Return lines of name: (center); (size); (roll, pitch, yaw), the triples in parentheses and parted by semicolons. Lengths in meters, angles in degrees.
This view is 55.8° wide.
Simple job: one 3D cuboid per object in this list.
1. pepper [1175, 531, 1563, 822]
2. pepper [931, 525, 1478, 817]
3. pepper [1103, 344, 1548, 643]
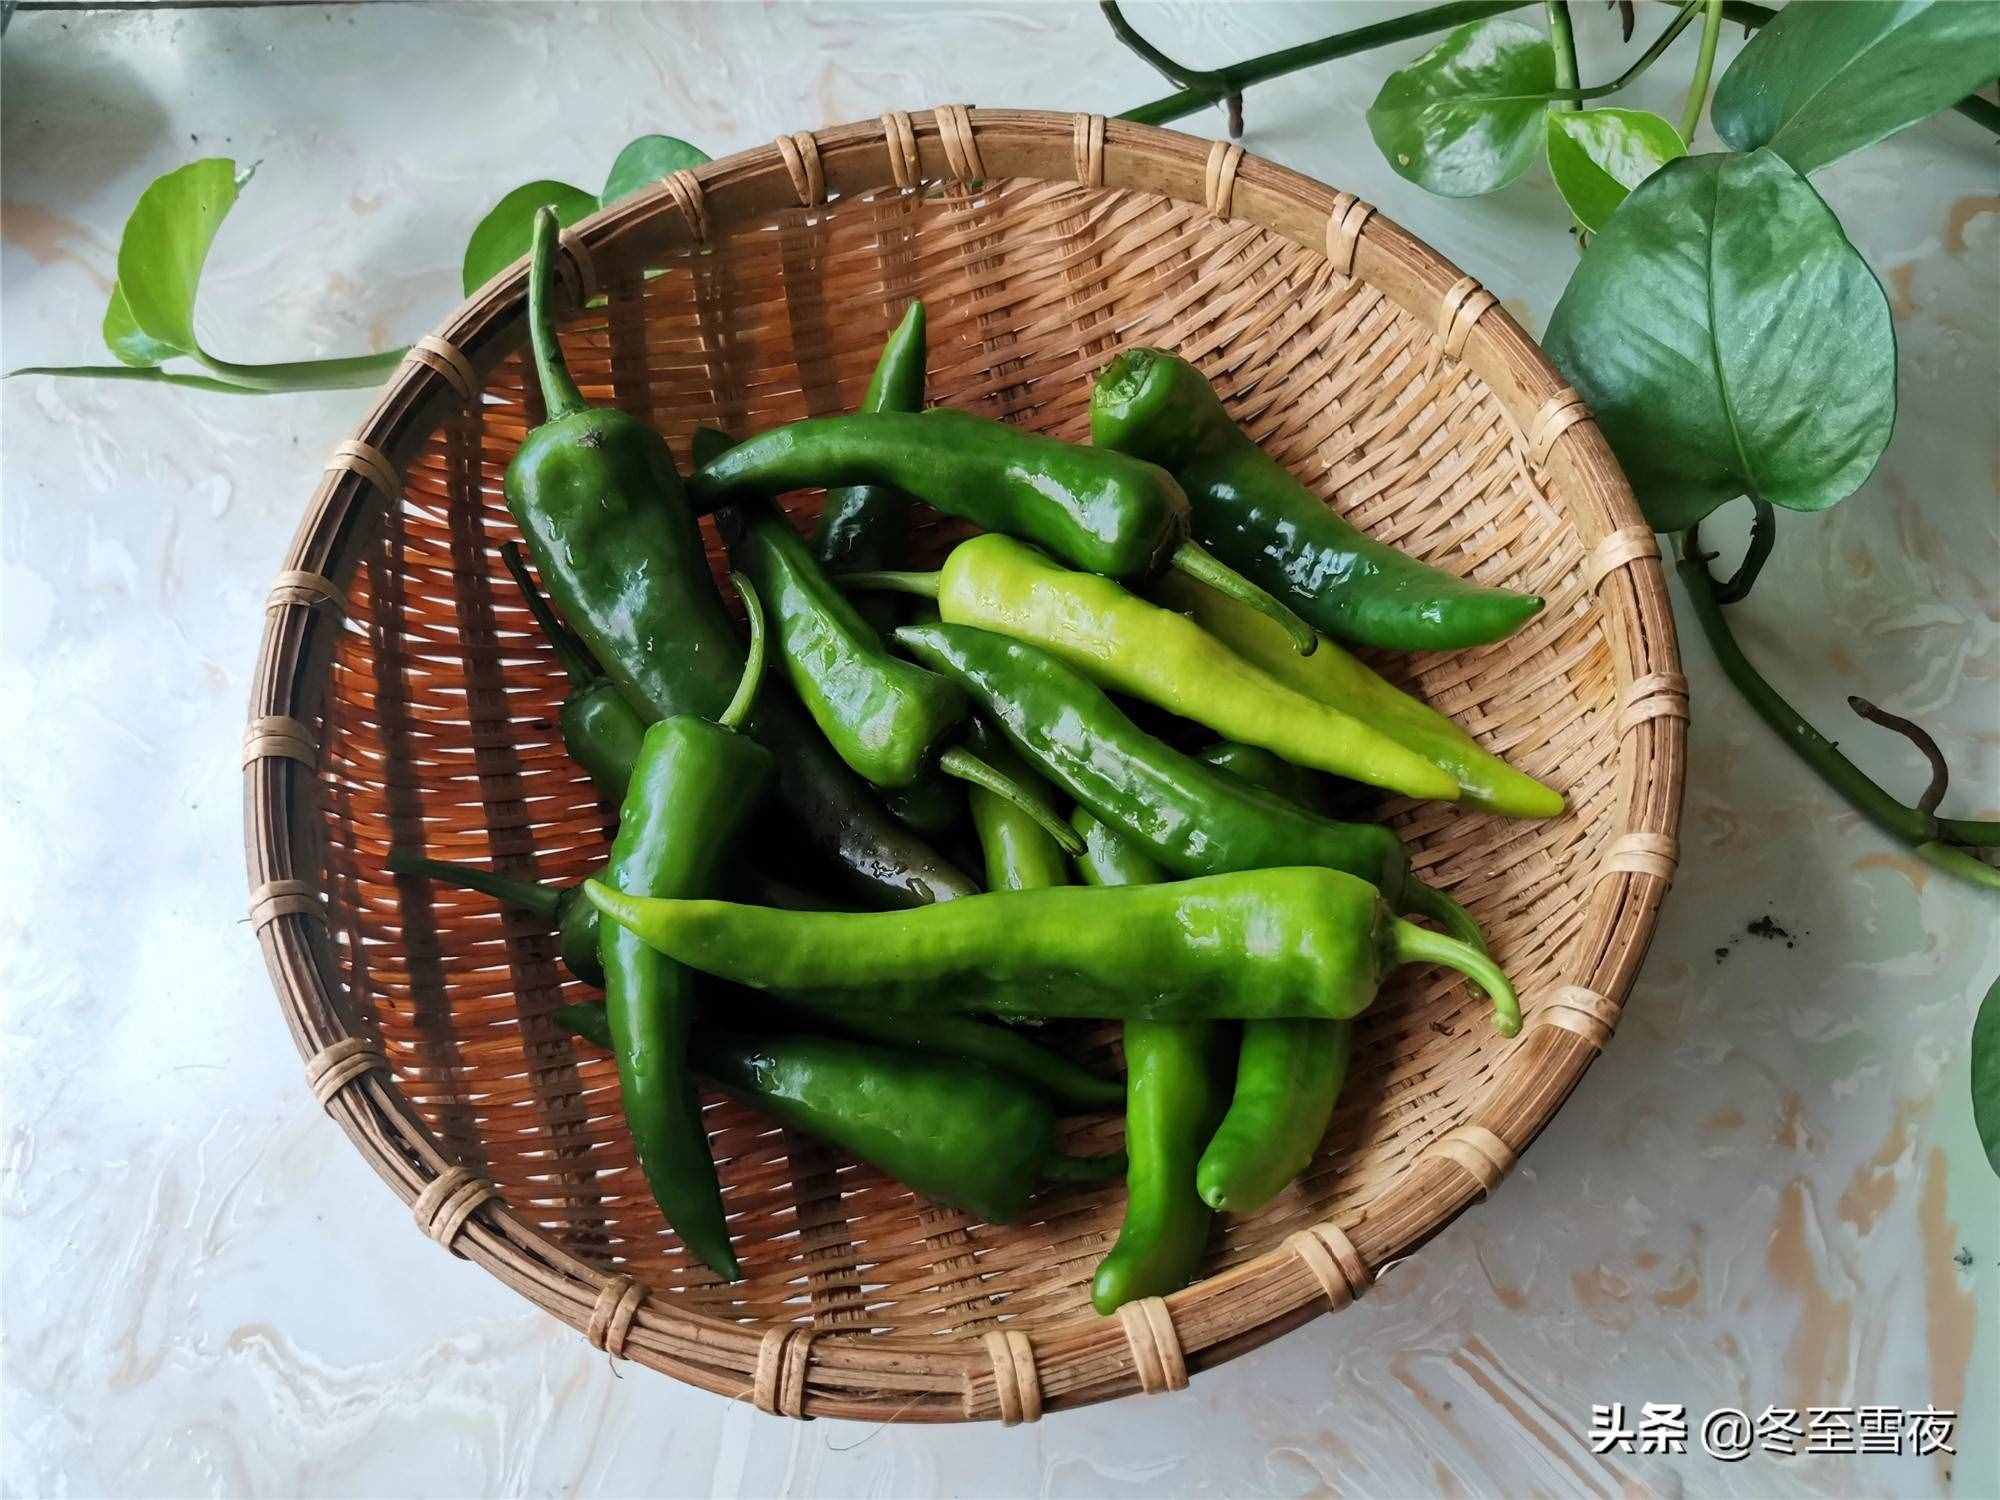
pepper: (0.339, -0.065, 1.706); (0.342, 0.056, 0.062); (41, 75, 18)
pepper: (0.180, -0.069, 1.703); (0.420, 0.086, 0.089); (26, 82, 14)
pepper: (0.288, -0.211, 1.767); (0.489, 0.197, 0.137); (35, 60, 27)
